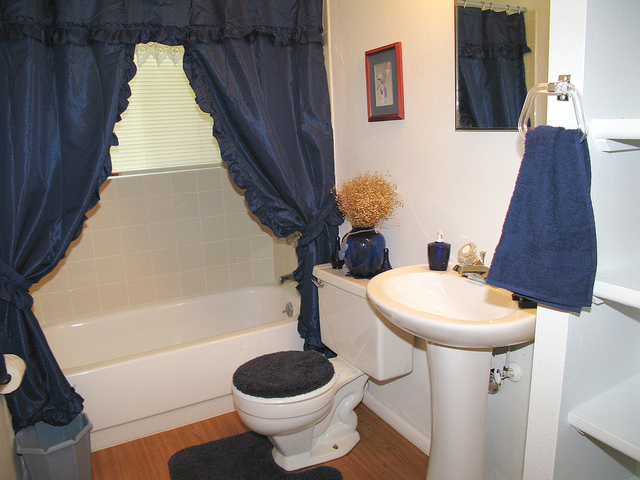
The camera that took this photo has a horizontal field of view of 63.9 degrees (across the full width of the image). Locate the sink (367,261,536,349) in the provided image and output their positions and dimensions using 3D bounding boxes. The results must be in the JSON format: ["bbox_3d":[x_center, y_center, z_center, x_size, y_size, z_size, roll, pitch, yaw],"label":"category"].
[{"bbox_3d":[0.539,0.209,2.088,0.648,0.291,0.648,2,10,-26],"label":"sink"}]

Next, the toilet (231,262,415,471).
[{"bbox_3d":[-0.024,0.615,2.971,1.089,1.146,0.783,-6,13,-32],"label":"toilet"}]

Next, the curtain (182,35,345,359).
[{"bbox_3d":[-0.338,-0.396,3.091,0.745,2.013,0.467,-5,16,-29],"label":"curtain"}]

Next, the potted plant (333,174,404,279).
[{"bbox_3d":[0.248,-0.068,2.739,0.315,0.532,0.343,3,6,33],"label":"potted plant"}]

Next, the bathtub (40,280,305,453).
[{"bbox_3d":[-1.108,0.640,3.972,2.294,0.775,1.667,0,13,-36],"label":"bathtub"}]

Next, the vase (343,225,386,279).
[{"bbox_3d":[0.229,0.051,2.658,0.230,0.305,0.242,0,7,-1],"label":"vase"}]

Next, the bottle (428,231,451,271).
[{"bbox_3d":[0.536,0.046,2.291,0.094,0.171,0.110,-10,18,-24],"label":"bottle"}]

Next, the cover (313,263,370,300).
[{"bbox_3d":[0.110,0.206,2.731,0.284,0.151,0.240,-2,11,-33],"label":"cover"}]
